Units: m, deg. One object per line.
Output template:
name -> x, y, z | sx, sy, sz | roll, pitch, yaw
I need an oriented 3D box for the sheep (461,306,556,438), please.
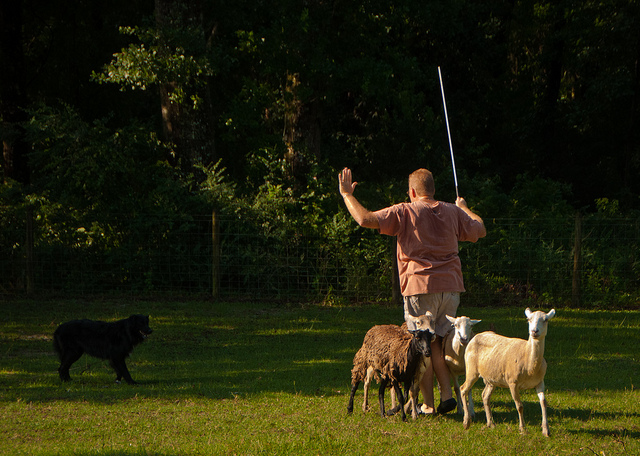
sheep -> 3.942, 3.022, 19.315 | 0.936, 2.776, 2.761 | -7, 3, -32

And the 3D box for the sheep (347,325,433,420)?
sheep -> 1.580, 3.079, 19.937 | 0.789, 2.042, 2.759 | -1, 1, -28

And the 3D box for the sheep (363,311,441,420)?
sheep -> 1.614, 2.992, 19.907 | 0.772, 2.317, 2.809 | 1, -2, -26

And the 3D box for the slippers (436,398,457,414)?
slippers -> 2.676, 3.735, 19.475 | 0.403, 0.441, 0.311 | 1, 12, 8
